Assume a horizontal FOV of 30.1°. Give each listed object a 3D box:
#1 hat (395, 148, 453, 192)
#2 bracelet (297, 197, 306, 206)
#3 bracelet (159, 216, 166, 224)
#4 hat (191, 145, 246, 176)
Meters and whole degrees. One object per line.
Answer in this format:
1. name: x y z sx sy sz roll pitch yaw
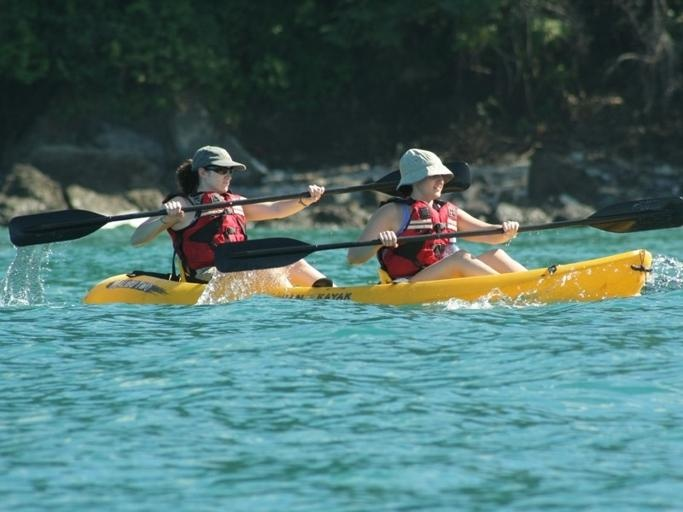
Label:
1. hat: 0.773 -0.904 13.388 0.533 0.276 0.570 -18 -1 -44
2. bracelet: -0.417 -0.592 13.880 0.090 0.073 0.020 27 63 29
3. bracelet: -1.862 -0.378 13.292 0.050 0.079 0.025 -1 8 -9
4. hat: -1.310 -1.037 13.574 0.569 0.164 0.292 1 4 5
